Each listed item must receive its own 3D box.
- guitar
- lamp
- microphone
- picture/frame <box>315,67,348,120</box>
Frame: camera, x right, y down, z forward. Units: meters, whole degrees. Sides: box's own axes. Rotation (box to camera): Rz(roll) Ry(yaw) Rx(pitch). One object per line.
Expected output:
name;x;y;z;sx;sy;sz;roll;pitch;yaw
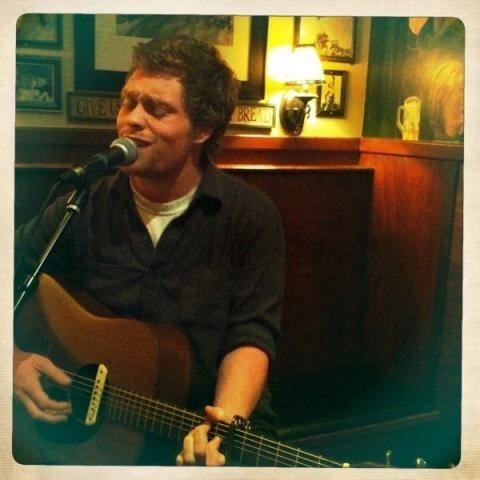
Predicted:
guitar;-0.154;0.471;1.749;1.079;0.524;0.142;14;5;2
lamp;0.204;-0.491;1.673;0.127;0.292;0.138;7;9;14
microphone;-0.361;-0.205;1.366;0.084;0.092;0.257;4;33;37
picture/frame;0.301;-0.490;1.666;0.098;0.169;0.013;4;-10;7
